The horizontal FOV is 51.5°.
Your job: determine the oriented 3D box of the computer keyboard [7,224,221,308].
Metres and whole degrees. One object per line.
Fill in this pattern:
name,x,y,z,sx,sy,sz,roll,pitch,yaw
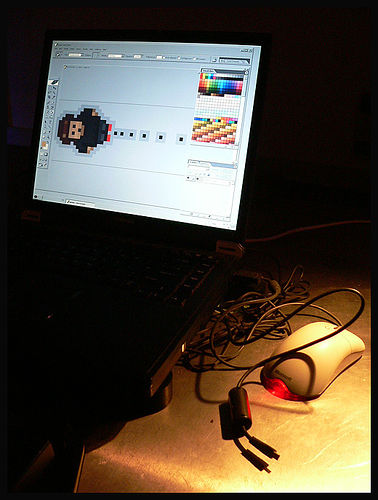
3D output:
computer keyboard,-0.099,0.021,0.508,0.201,0.010,0.083,11,30,24

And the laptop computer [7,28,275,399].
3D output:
laptop computer,-0.063,-0.057,0.520,0.304,0.308,0.333,13,29,20
